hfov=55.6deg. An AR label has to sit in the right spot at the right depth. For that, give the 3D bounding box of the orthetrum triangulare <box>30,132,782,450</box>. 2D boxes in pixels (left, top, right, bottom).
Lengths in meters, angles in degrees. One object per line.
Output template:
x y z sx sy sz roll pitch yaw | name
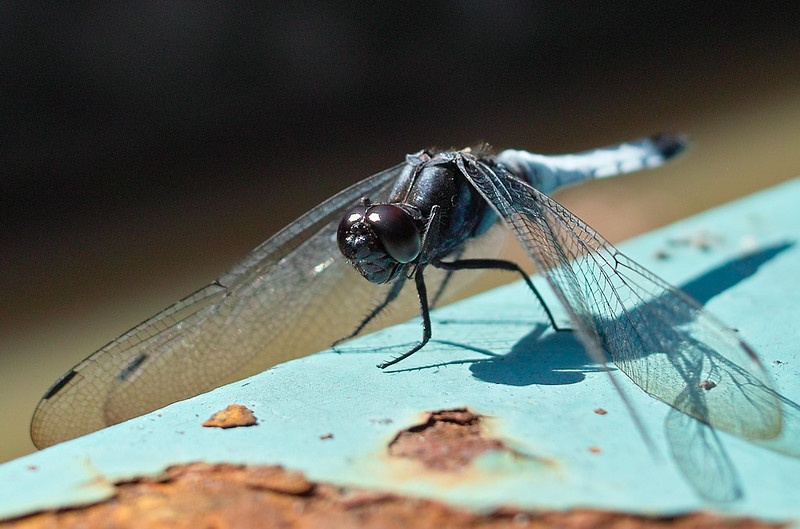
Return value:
0.624 0.052 5.887 4.854 1.373 3.958 -18 -14 28 | orthetrum triangulare
